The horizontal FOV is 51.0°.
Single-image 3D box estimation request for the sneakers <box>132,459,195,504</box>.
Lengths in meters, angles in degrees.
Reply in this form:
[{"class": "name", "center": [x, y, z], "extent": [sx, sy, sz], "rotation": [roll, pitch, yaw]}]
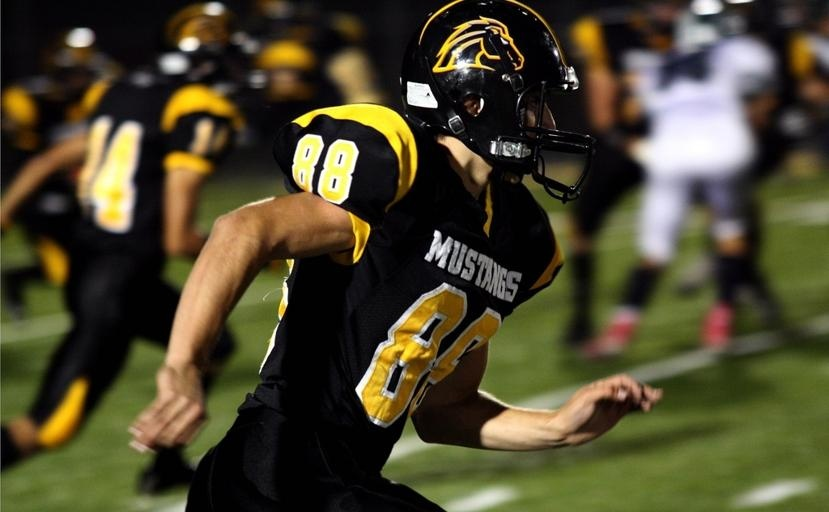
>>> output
[{"class": "sneakers", "center": [-1.533, 1.349, 5.292], "extent": [0.357, 0.222, 0.268], "rotation": [-1, 13, -10]}]
